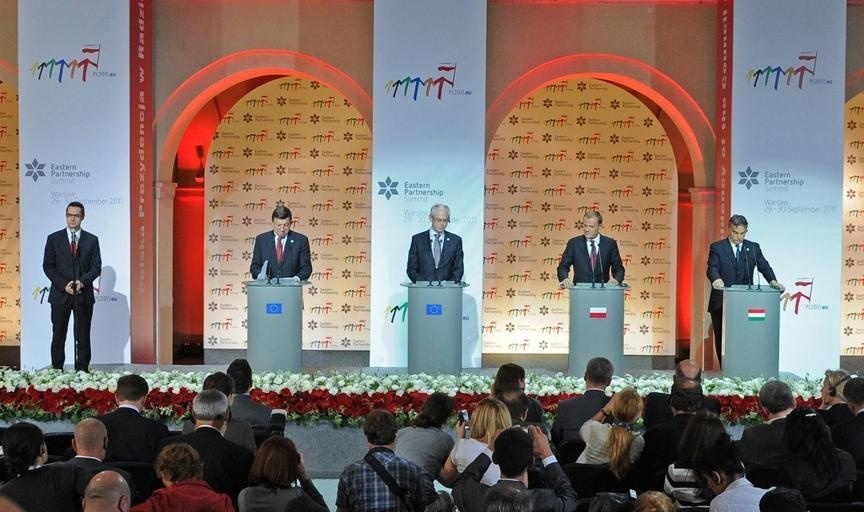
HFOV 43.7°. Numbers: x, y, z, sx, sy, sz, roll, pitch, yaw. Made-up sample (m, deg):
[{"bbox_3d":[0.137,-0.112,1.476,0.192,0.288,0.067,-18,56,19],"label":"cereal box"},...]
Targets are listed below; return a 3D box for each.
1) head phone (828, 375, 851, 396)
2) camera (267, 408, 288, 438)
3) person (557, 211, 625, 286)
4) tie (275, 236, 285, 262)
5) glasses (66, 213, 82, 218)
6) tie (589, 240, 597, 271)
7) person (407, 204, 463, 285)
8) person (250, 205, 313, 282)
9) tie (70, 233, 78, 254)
[{"bbox_3d":[4.621,1.447,12.123,0.118,0.239,0.181,44,-33,-14],"label":"head phone"},{"bbox_3d":[-1.734,1.831,11.957,0.190,0.097,0.333,1,26,-3],"label":"camera"},{"bbox_3d":[2.158,-0.096,14.585,0.875,1.004,0.771,-1,-6,6],"label":"person"},{"bbox_3d":[-2.082,-0.093,14.609,0.095,0.333,0.032,1,-7,-7],"label":"tie"},{"bbox_3d":[-4.999,-0.549,14.917,0.191,0.059,0.082,2,-7,-20],"label":"glasses"},{"bbox_3d":[2.220,-0.024,14.603,0.090,0.361,0.141,-1,-7,7],"label":"tie"},{"bbox_3d":[0.035,-0.160,14.713,0.764,1.054,0.548,0,-6,-1],"label":"person"},{"bbox_3d":[-2.046,-0.153,14.454,0.776,0.994,0.545,1,-7,-10],"label":"person"},{"bbox_3d":[-5.061,-0.177,15.074,0.095,0.267,0.045,-4,-8,32],"label":"tie"}]
